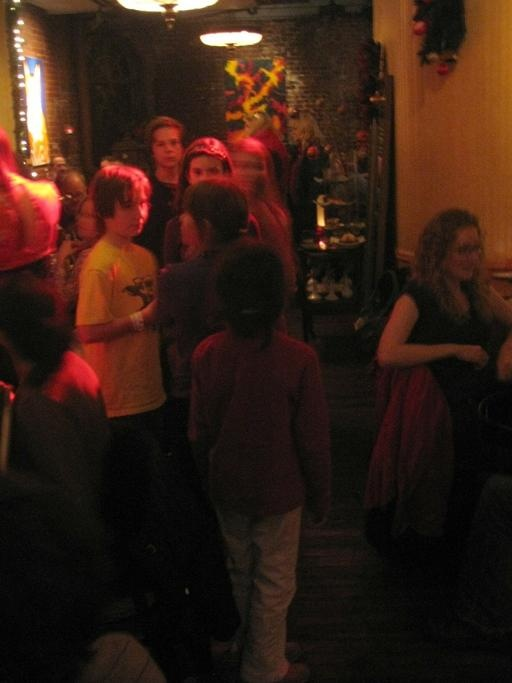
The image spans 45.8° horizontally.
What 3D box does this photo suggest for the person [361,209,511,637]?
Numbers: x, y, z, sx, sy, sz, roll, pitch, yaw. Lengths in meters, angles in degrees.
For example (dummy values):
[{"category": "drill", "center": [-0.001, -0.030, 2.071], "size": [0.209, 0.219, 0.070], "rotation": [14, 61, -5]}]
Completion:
[{"category": "person", "center": [0.477, 0.095, 1.587], "size": [0.412, 0.857, 0.276], "rotation": [-16, 20, -37]}]
